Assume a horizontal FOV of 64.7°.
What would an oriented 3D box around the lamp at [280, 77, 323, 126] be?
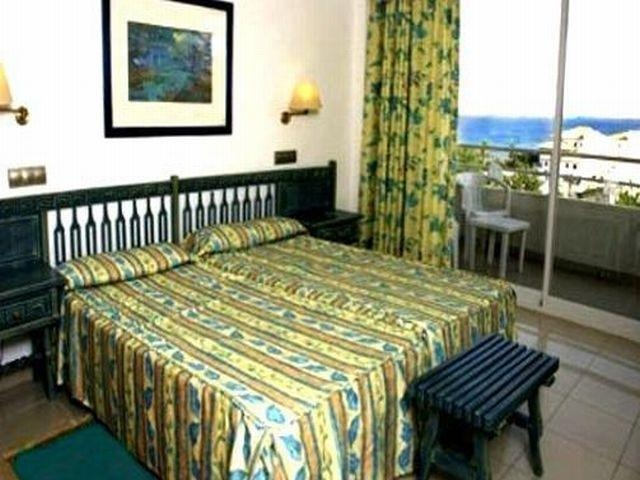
[{"bbox_3d":[-0.176,-1.188,4.393,0.273,0.359,0.401,-9,21,-28],"label":"lamp"}]
